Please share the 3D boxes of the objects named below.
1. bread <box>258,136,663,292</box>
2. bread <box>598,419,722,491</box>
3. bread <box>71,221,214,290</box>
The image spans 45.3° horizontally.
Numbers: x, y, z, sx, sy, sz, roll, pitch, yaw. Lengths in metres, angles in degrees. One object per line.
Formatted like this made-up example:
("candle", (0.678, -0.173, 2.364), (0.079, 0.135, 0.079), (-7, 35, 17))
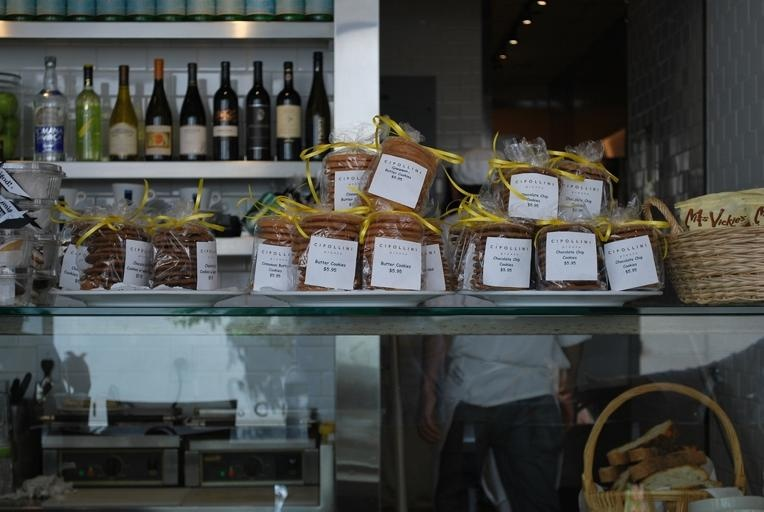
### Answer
("bread", (0.198, -0.035, 1.808), (0.568, 0.163, 0.395), (0, -5, 5))
("bread", (0.503, 0.367, 1.689), (0.178, 0.080, 0.127), (0, -14, -5))
("bread", (-0.478, 0.007, 1.862), (0.208, 0.096, 0.148), (1, -4, -10))
